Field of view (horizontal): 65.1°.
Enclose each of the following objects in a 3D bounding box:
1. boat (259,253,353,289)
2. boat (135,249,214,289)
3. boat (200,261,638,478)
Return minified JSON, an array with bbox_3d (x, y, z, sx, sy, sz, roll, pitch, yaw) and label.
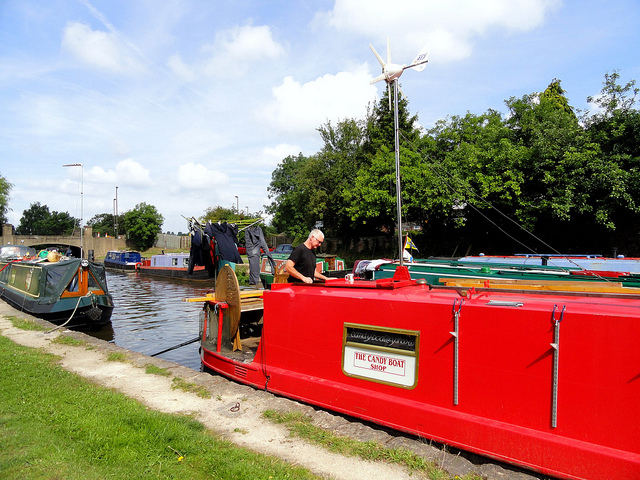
[{"bbox_3d":[-1.361,1.413,22.575,1.747,1.537,2.738,-1,-3,-43],"label":"boat"},{"bbox_3d":[-9.671,1.948,32.616,1.663,1.739,6.794,2,5,-33],"label":"boat"},{"bbox_3d":[1.068,1.762,7.926,2.138,2.230,6.457,1,-1,-40],"label":"boat"}]
